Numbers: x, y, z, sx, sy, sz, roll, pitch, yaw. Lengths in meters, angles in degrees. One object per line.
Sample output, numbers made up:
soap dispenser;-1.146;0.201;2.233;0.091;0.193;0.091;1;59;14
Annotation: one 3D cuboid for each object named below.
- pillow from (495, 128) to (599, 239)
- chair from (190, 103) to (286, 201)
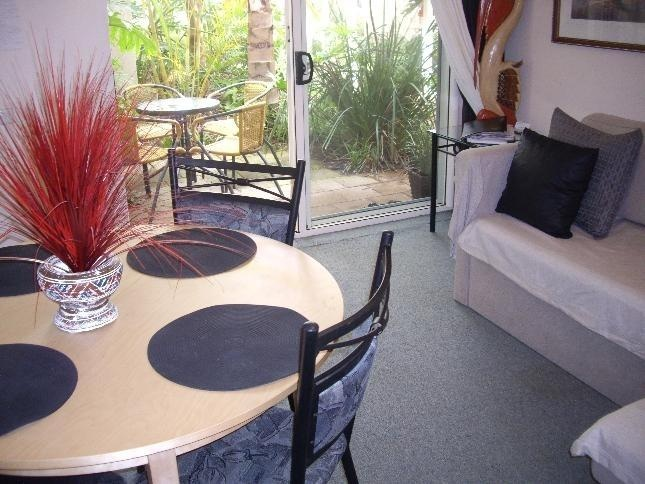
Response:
pillow;1.222;-0.290;2.507;0.237;0.412;0.481;-17;29;-24
chair;-0.753;-0.833;4.248;0.689;0.895;0.752;5;30;7
